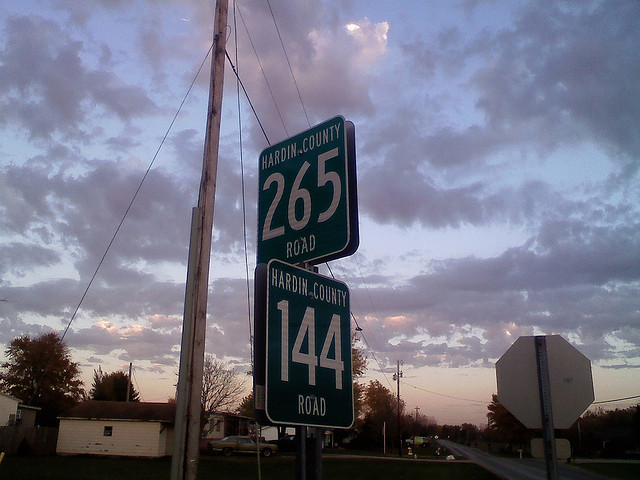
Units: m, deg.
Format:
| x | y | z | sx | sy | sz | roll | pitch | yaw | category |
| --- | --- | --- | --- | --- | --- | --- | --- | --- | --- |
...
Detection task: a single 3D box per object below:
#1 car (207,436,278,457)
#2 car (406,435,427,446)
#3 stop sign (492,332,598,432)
| x | y | z | sx | sy | sz | roll | pitch | yaw | category |
| --- | --- | --- | --- | --- | --- | --- | --- | --- | --- |
| -5.212 | 13.720 | 36.047 | 4.304 | 1.264 | 2.213 | 6 | -21 | -11 | car |
| 15.562 | 32.156 | 86.707 | 2.843 | 1.454 | 4.733 | -4 | -22 | 12 | car |
| 3.247 | 2.055 | 7.902 | 1.302 | 1.372 | 0.152 | -8 | -35 | 24 | stop sign |
